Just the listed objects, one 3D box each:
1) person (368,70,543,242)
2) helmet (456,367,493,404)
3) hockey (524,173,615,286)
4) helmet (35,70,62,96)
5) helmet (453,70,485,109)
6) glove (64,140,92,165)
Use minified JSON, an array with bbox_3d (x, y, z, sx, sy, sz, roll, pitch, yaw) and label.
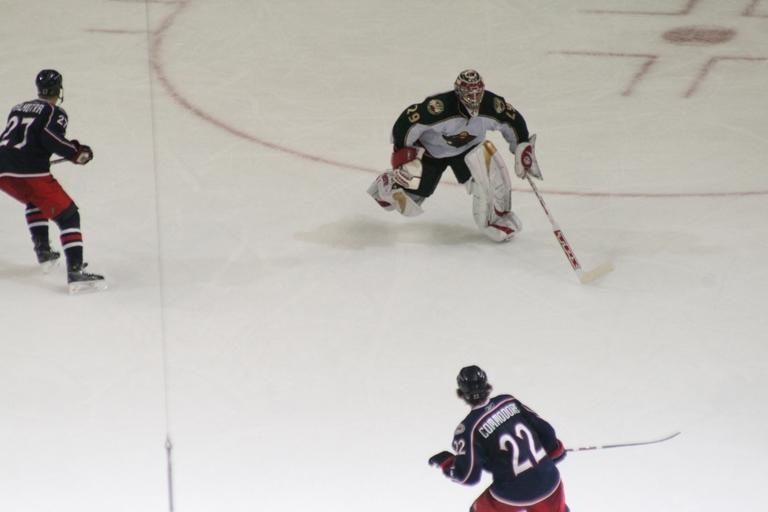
[{"bbox_3d":[0.399,-0.585,5.479,0.969,0.550,0.862,3,-68,0],"label":"person"},{"bbox_3d":[0.439,0.635,4.697,0.178,0.210,0.195,-7,-71,3],"label":"helmet"},{"bbox_3d":[0.998,-0.144,5.401,0.262,0.857,0.098,-23,-24,-8],"label":"hockey"},{"bbox_3d":[-1.797,-0.944,5.315,0.125,0.155,0.142,5,-66,-7],"label":"helmet"},{"bbox_3d":[0.471,-0.917,5.320,0.177,0.216,0.199,-6,-63,-5],"label":"helmet"},{"bbox_3d":[-1.629,-0.554,5.231,0.124,0.090,0.115,19,-51,-15],"label":"glove"}]
